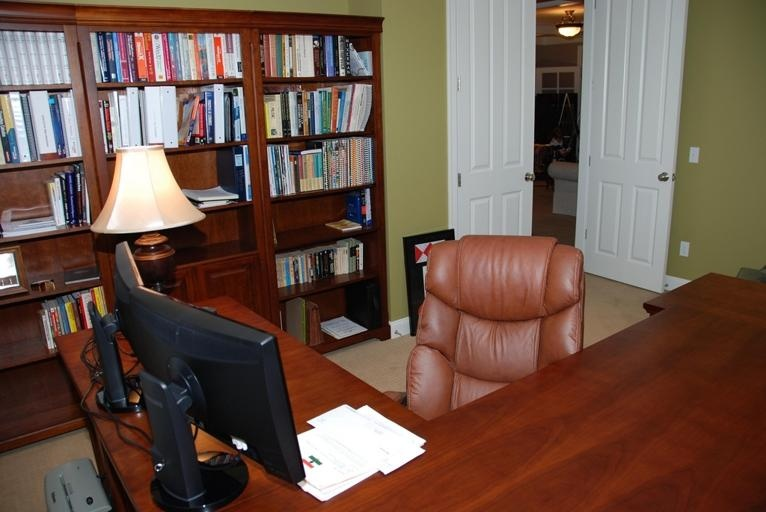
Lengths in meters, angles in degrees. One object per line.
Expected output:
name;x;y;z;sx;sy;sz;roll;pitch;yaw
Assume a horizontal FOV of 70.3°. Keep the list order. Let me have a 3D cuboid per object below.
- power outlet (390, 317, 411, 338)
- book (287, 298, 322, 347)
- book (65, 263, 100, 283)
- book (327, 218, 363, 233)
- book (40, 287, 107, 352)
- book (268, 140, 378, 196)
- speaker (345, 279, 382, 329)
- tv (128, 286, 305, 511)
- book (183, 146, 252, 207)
power outlet;0.138;0.597;4.605;0.165;0.135;0.089;-8;10;-36
book;-0.601;0.499;4.085;0.193;0.306;0.329;-10;17;-33
book;-2.002;0.121;3.615;0.178;0.039;0.162;-10;14;-39
book;-0.312;-0.247;4.398;0.161;0.039;0.170;-15;23;-43
book;-1.832;0.364;3.222;0.352;0.317;0.198;-18;18;-38
book;-0.553;-0.771;4.310;1.196;0.407;0.528;-9;22;-25
speaker;-0.153;0.389;4.500;0.143;0.342;0.365;-14;15;-33
tv;-0.613;0.546;1.966;0.798;0.566;0.316;18;27;37
book;-1.196;-0.593;3.998;0.441;0.464;0.493;-7;17;-30
